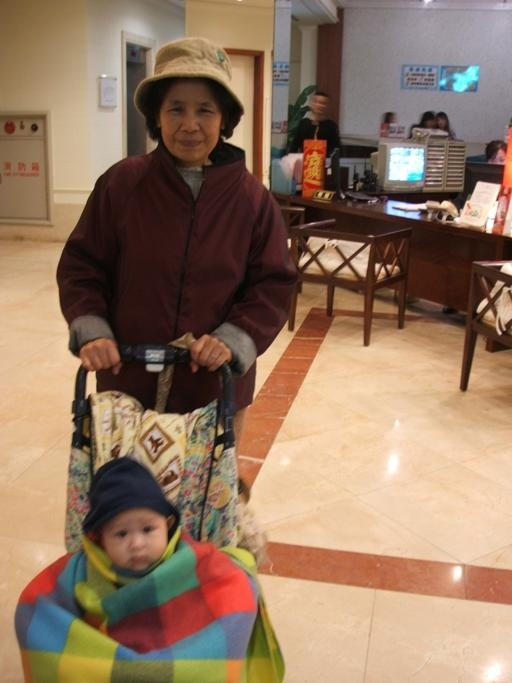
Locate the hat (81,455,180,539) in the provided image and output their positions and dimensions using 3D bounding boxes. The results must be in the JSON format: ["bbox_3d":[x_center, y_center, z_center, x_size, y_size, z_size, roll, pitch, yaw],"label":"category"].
[{"bbox_3d":[-0.205,0.239,0.821,0.113,0.094,0.146,-15,-15,-13],"label":"hat"}]

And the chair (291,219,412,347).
[{"bbox_3d":[0.815,-0.551,4.510,0.757,0.938,0.881,-15,24,-36],"label":"chair"}]

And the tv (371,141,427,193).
[{"bbox_3d":[1.777,-2.238,6.717,0.652,0.661,0.645,-4,22,-4],"label":"tv"}]

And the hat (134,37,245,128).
[{"bbox_3d":[-0.139,-0.570,1.120,0.164,0.104,0.197,4,-8,1],"label":"hat"}]
